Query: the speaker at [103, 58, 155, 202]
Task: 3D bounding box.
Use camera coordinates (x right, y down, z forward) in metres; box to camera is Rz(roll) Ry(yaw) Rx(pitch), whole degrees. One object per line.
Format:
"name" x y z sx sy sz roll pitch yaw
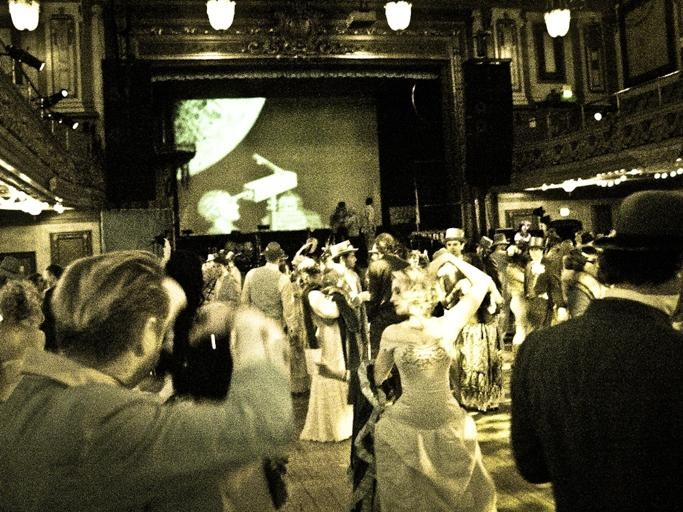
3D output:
"speaker" -3.915 -2.311 14.426 0.912 2.610 0.274 -1 -4 -1

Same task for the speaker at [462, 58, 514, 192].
"speaker" 2.987 -2.674 15.400 0.981 2.474 0.844 2 12 23
